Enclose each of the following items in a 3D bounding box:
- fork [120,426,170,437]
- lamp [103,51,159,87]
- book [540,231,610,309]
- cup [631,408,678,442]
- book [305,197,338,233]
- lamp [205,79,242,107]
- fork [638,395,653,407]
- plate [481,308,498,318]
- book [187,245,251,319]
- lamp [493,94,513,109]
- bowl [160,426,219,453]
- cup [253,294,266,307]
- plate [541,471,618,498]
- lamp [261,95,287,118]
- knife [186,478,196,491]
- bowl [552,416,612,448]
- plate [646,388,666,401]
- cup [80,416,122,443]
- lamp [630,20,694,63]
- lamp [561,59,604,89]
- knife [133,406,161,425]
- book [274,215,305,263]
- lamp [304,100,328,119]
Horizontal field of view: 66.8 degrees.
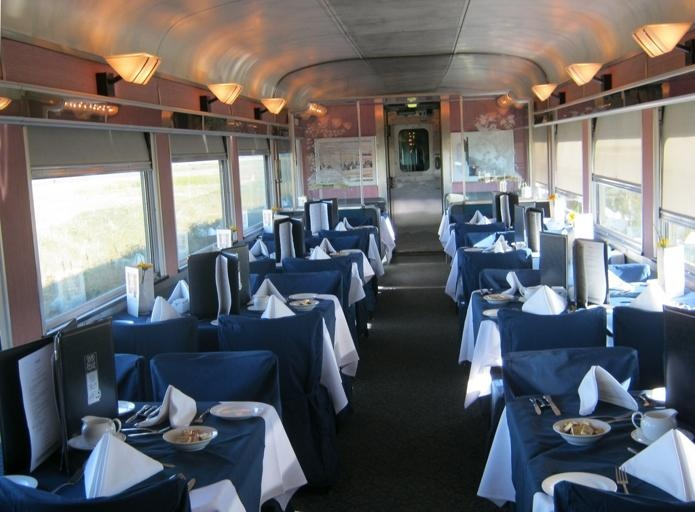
[{"bbox_3d":[-1.015,0.883,2.645,0.226,0.036,0.077,3,11,-15],"label":"fork"},{"bbox_3d":[-1.866,-1.634,4.575,0.348,0.170,0.300,-2,-3,2],"label":"lamp"},{"bbox_3d":[1.864,0.134,4.370,0.225,0.437,0.568,-6,9,-2],"label":"book"},{"bbox_3d":[1.366,0.749,2.391,0.176,0.126,0.141,-16,-8,24],"label":"cup"},{"bbox_3d":[-0.463,-0.699,9.102,0.558,0.589,0.588,0,8,1],"label":"book"},{"bbox_3d":[-1.643,-2.145,6.969,0.420,0.261,0.338,-1,3,-41],"label":"lamp"},{"bbox_3d":[1.538,0.755,2.737,0.025,0.028,0.050,32,0,-1],"label":"fork"},{"bbox_3d":[1.155,0.468,4.299,0.099,0.015,0.102,-3,12,5],"label":"plate"},{"bbox_3d":[-1.165,0.216,4.767,0.603,0.756,0.604,-1,5,-5],"label":"book"},{"bbox_3d":[3.230,-3.199,10.906,0.271,0.289,0.280,-2,12,20],"label":"lamp"},{"bbox_3d":[-0.752,0.871,2.546,0.250,0.052,0.206,6,13,43],"label":"bowl"},{"bbox_3d":[-0.808,0.414,4.817,0.107,0.081,0.087,0,1,22],"label":"cup"},{"bbox_3d":[0.914,0.901,2.097,0.302,0.037,0.138,-3,9,-2],"label":"plate"},{"bbox_3d":[-1.365,-2.693,9.421,0.450,0.368,0.466,-2,6,12],"label":"lamp"},{"bbox_3d":[-0.658,0.958,2.220,0.031,0.022,0.083,-5,10,-14],"label":"knife"},{"bbox_3d":[1.077,0.805,2.451,0.272,0.050,0.208,-12,13,-43],"label":"bowl"},{"bbox_3d":[1.623,0.733,2.782,0.098,0.024,0.097,-16,11,-41],"label":"plate"},{"bbox_3d":[-1.172,0.823,2.492,0.181,0.130,0.141,7,-11,-32],"label":"cup"},{"bbox_3d":[2.692,-1.952,4.530,0.274,0.194,0.466,9,5,6],"label":"lamp"},{"bbox_3d":[2.934,-2.278,6.638,0.415,0.242,0.429,1,4,7],"label":"lamp"},{"bbox_3d":[-1.059,0.850,2.817,0.071,0.042,0.224,1,14,-2],"label":"knife"},{"bbox_3d":[-0.741,-0.231,6.631,0.490,0.656,0.438,-6,14,-22],"label":"book"},{"bbox_3d":[-0.699,-3.156,11.403,0.536,0.298,0.218,-8,11,-29],"label":"lamp"}]
